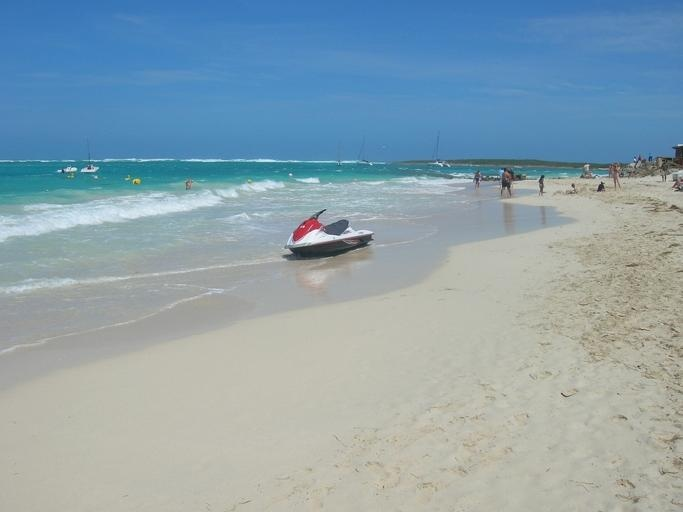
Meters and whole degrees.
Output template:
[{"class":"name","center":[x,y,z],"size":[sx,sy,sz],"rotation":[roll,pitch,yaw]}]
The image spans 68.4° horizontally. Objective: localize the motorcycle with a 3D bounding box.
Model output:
[{"class":"motorcycle","center":[-0.462,-0.670,16.016],"size":[1.630,0.793,2.701],"rotation":[2,7,45]}]
